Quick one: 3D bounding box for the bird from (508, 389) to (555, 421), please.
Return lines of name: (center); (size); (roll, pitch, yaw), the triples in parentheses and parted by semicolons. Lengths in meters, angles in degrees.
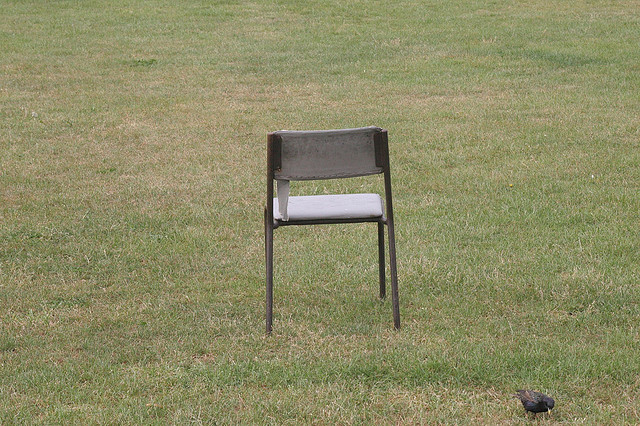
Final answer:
bird: (3.984, 3.560, 24.303); (0.801, 0.529, 0.351); (19, 11, 23)
